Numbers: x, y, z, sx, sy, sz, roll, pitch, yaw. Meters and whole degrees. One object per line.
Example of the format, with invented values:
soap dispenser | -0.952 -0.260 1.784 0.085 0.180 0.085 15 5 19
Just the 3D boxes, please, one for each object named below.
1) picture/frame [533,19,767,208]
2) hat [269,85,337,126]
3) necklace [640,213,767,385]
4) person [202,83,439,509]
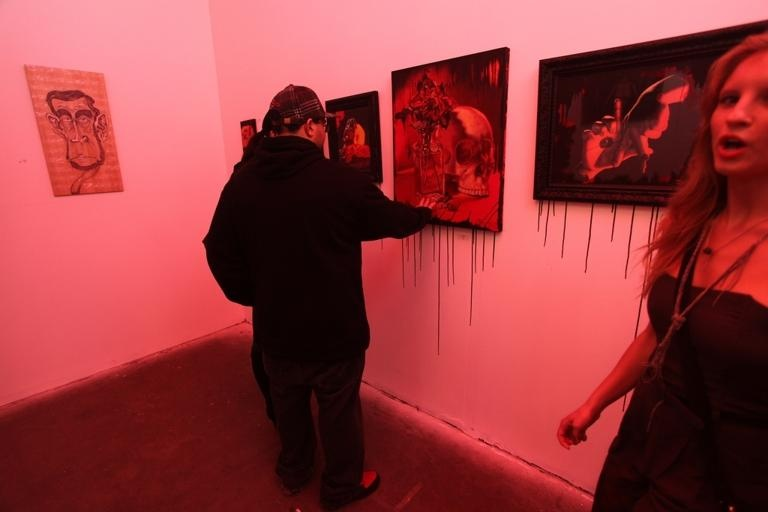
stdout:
picture/frame | 1.244 -0.671 2.268 0.997 0.705 0.065 7 14 41
hat | -0.454 -0.823 2.709 0.286 0.166 0.208 -19 37 -32
necklace | 1.280 0.182 2.009 0.058 0.723 0.215 6 24 -42
person | -0.426 0.392 2.791 1.039 2.069 0.473 3 18 15
